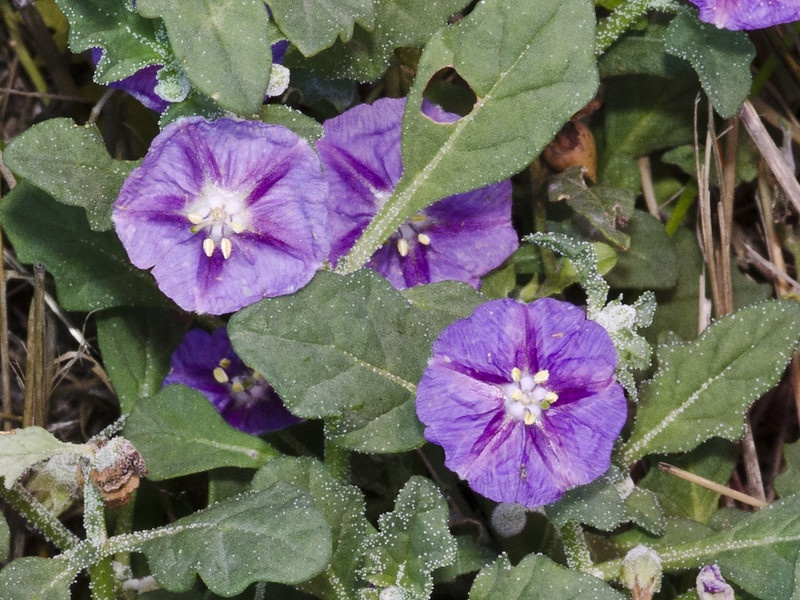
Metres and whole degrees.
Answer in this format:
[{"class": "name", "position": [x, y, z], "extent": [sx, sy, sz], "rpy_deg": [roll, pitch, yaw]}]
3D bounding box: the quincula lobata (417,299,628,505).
[{"class": "quincula lobata", "position": [0.178, 0.148, 1.407], "extent": [0.301, 0.110, 0.281], "rpy_deg": [-24, 73, 4]}]
